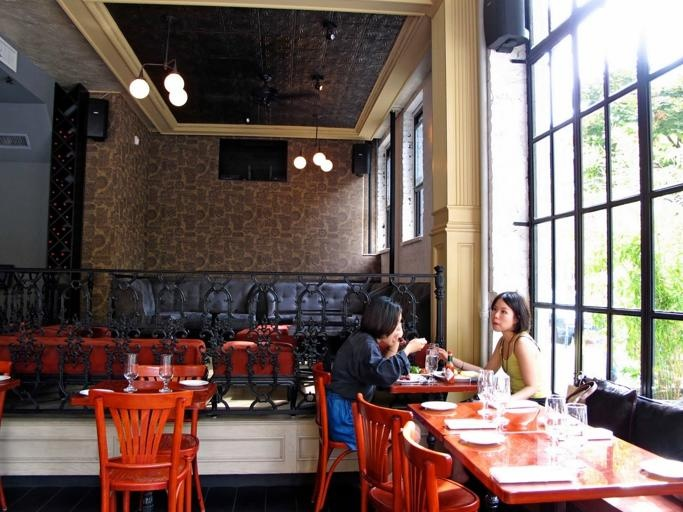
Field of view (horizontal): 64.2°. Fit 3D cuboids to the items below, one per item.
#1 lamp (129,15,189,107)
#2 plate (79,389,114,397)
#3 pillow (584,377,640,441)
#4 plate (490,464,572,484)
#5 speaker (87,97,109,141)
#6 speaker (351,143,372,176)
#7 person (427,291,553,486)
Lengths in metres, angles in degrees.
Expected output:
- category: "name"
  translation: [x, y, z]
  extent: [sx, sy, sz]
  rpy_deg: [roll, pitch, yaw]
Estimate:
- category: "lamp"
  translation: [-2.273, -2.476, 6.782]
  extent: [0.632, 1.133, 0.659]
  rpy_deg: [-11, -18, 40]
- category: "plate"
  translation: [-1.572, 0.881, 3.508]
  extent: [0.154, 0.022, 0.159]
  rpy_deg: [0, -4, 22]
- category: "pillow"
  translation: [1.742, 0.999, 3.499]
  extent: [0.122, 0.360, 0.351]
  rpy_deg: [24, -13, -24]
- category: "plate"
  translation: [0.945, 1.074, 2.677]
  extent: [0.426, 0.048, 0.149]
  rpy_deg: [-1, -5, -3]
- category: "speaker"
  translation: [-3.543, -1.980, 7.901]
  extent: [0.264, 0.569, 0.248]
  rpy_deg: [0, -5, -16]
- category: "speaker"
  translation: [0.360, -1.736, 9.777]
  extent: [0.336, 0.598, 0.382]
  rpy_deg: [-1, -5, 1]
- category: "person"
  translation: [1.130, 0.940, 4.001]
  extent: [0.780, 1.290, 0.523]
  rpy_deg: [2, -10, 1]
